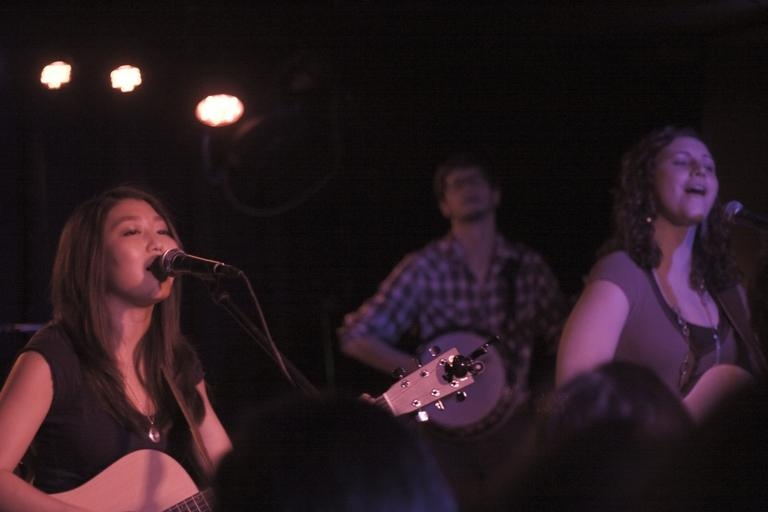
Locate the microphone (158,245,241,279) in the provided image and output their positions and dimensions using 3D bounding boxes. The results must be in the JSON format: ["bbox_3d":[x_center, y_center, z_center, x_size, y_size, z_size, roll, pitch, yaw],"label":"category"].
[{"bbox_3d":[-0.994,0.037,3.834,0.530,0.208,0.147,-11,-9,36],"label":"microphone"}]

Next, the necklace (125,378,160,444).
[{"bbox_3d":[-1.297,0.869,3.963,0.101,0.262,0.036,-32,8,-25],"label":"necklace"}]

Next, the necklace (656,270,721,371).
[{"bbox_3d":[1.702,0.376,4.238,0.276,0.556,0.082,-22,-11,-6],"label":"necklace"}]
